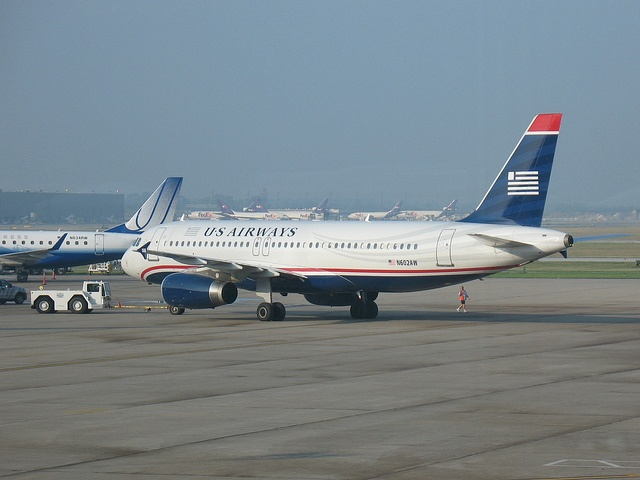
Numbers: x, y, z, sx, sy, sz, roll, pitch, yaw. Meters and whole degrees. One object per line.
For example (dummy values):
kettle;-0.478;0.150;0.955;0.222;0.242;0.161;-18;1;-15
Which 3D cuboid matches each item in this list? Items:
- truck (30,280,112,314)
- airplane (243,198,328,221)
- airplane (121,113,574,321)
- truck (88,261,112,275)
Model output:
truck;-12.032;2.697;50.490;3.451;1.391;1.007;-1;3;-3
airplane;-10.065;-8.185;281.334;22.283;5.120;18.308;2;4;14
airplane;0.599;0.451;45.930;15.128;3.754;12.436;1;1;33
truck;-18.828;2.261;88.674;2.721;1.052;1.450;2;1;17
